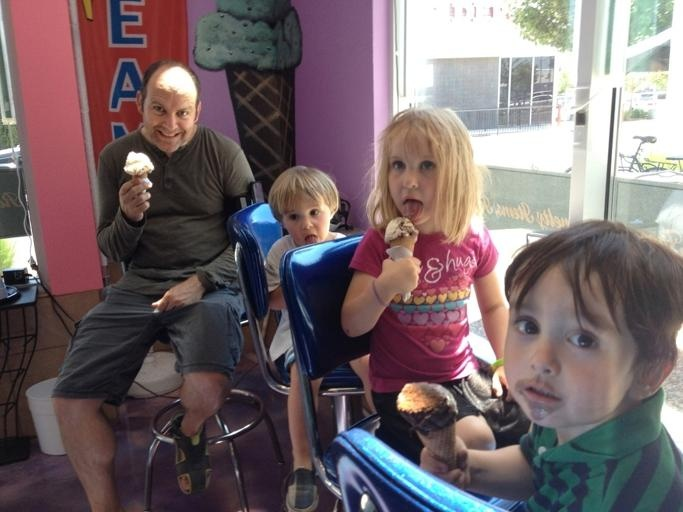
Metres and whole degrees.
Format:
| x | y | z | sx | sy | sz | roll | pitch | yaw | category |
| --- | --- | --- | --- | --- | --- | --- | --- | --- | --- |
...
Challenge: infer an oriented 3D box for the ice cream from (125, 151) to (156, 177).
| x | y | z | sx | sy | sz | roll | pitch | yaw | category |
| --- | --- | --- | --- | --- | --- | --- | --- | --- | --- |
| -0.675 | -0.298 | 1.835 | 0.090 | 0.097 | 0.120 | 7 | 5 | -7 | ice cream |

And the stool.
| x | y | z | sx | sy | sz | roll | pitch | yaw | category |
| --- | --- | --- | --- | --- | --- | --- | --- | --- | --- |
| -0.390 | 0.552 | 1.929 | 0.597 | 0.466 | 0.587 | -1 | 18 | -7 | stool |

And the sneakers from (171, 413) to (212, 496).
| x | y | z | sx | sy | sz | roll | pitch | yaw | category |
| --- | --- | --- | --- | --- | --- | --- | --- | --- | --- |
| -0.477 | 0.640 | 1.742 | 0.115 | 0.245 | 0.071 | -7 | 0 | -20 | sneakers |

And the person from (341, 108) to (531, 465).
| x | y | z | sx | sy | sz | roll | pitch | yaw | category |
| --- | --- | --- | --- | --- | --- | --- | --- | --- | --- |
| 0.198 | 0.148 | 1.248 | 0.389 | 0.939 | 0.302 | -2 | 6 | -3 | person |

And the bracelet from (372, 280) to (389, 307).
| x | y | z | sx | sy | sz | roll | pitch | yaw | category |
| --- | --- | --- | --- | --- | --- | --- | --- | --- | --- |
| 0.078 | 0.076 | 1.121 | 0.032 | 0.054 | 0.011 | 6 | 15 | 31 | bracelet |

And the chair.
| x | y | z | sx | sy | sz | roll | pitch | yaw | category |
| --- | --- | --- | --- | --- | --- | --- | --- | --- | --- |
| 0.246 | 0.268 | 2.036 | 0.797 | 1.526 | 0.892 | -11 | 9 | -37 | chair |

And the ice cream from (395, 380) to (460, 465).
| x | y | z | sx | sy | sz | roll | pitch | yaw | category |
| --- | --- | --- | --- | --- | --- | --- | --- | --- | --- |
| 0.141 | 0.238 | 0.746 | 0.083 | 0.119 | 0.070 | -17 | 17 | 16 | ice cream |

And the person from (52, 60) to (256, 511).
| x | y | z | sx | sy | sz | roll | pitch | yaw | category |
| --- | --- | --- | --- | --- | --- | --- | --- | --- | --- |
| -0.634 | 0.026 | 1.873 | 0.653 | 1.398 | 0.717 | -4 | 13 | -7 | person |
